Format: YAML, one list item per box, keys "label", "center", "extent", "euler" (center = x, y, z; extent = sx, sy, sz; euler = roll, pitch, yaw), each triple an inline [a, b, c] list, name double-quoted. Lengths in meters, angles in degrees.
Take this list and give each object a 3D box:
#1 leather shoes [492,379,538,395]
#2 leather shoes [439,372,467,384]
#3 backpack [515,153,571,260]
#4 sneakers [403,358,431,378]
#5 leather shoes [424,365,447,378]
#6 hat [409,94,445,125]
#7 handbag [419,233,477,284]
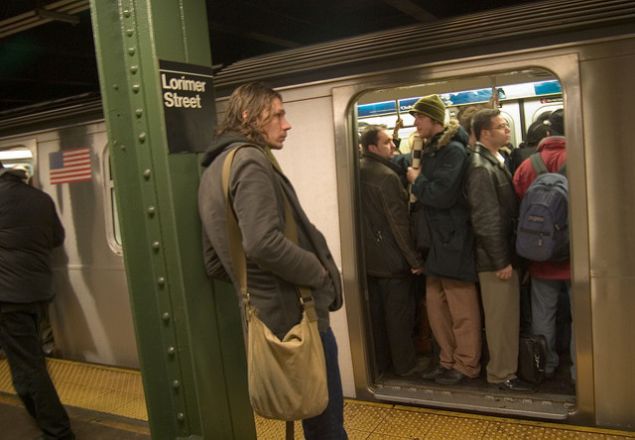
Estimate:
- label: "leather shoes"
  center: [1.728, 1.453, 4.335]
  extent: [0.277, 0.081, 0.109]
  euler: [-8, -2, 32]
- label: "leather shoes"
  center: [1.241, 1.450, 4.563]
  extent: [0.227, 0.074, 0.112]
  euler: [-3, 9, 3]
- label: "backpack"
  center: [1.948, -0.089, 4.256]
  extent: [0.522, 0.821, 0.474]
  euler: [7, 21, 28]
- label: "sneakers"
  center: [0.982, 1.456, 4.878]
  extent: [0.331, 0.129, 0.115]
  euler: [-17, 14, -33]
- label: "leather shoes"
  center: [1.104, 1.443, 4.694]
  extent: [0.252, 0.092, 0.089]
  euler: [-7, 16, 7]
- label: "hat"
  center: [1.061, -1.073, 4.761]
  extent: [0.320, 0.195, 0.240]
  euler: [16, 20, 13]
- label: "handbag"
  center: [1.231, 0.267, 4.623]
  extent: [0.549, 0.510, 0.300]
  euler: [5, 13, 15]
